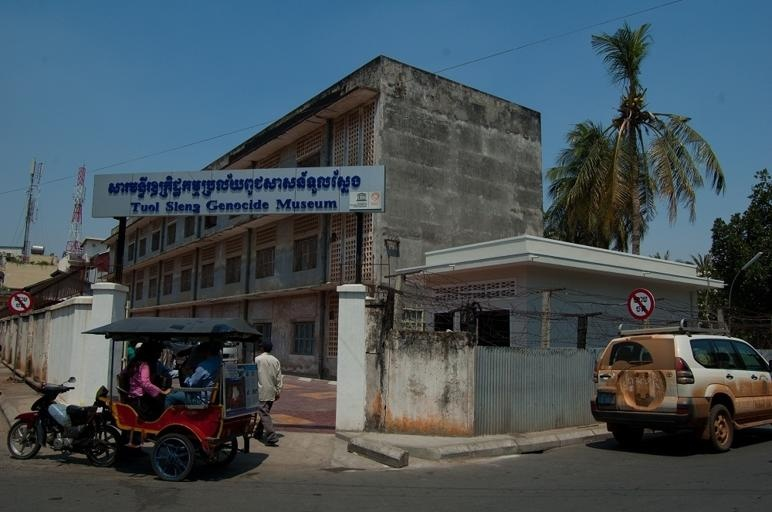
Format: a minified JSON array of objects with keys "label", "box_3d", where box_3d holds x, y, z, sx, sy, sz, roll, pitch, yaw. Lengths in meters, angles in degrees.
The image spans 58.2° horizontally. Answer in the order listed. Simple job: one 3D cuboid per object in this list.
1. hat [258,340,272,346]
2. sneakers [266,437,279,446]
[{"label":"hat","box_3d":[-2.831,2.083,16.463,0.185,0.092,0.216,4,-5,-45]},{"label":"sneakers","box_3d":[-2.639,4.349,16.143,0.285,0.275,0.146,4,-14,-13]}]
